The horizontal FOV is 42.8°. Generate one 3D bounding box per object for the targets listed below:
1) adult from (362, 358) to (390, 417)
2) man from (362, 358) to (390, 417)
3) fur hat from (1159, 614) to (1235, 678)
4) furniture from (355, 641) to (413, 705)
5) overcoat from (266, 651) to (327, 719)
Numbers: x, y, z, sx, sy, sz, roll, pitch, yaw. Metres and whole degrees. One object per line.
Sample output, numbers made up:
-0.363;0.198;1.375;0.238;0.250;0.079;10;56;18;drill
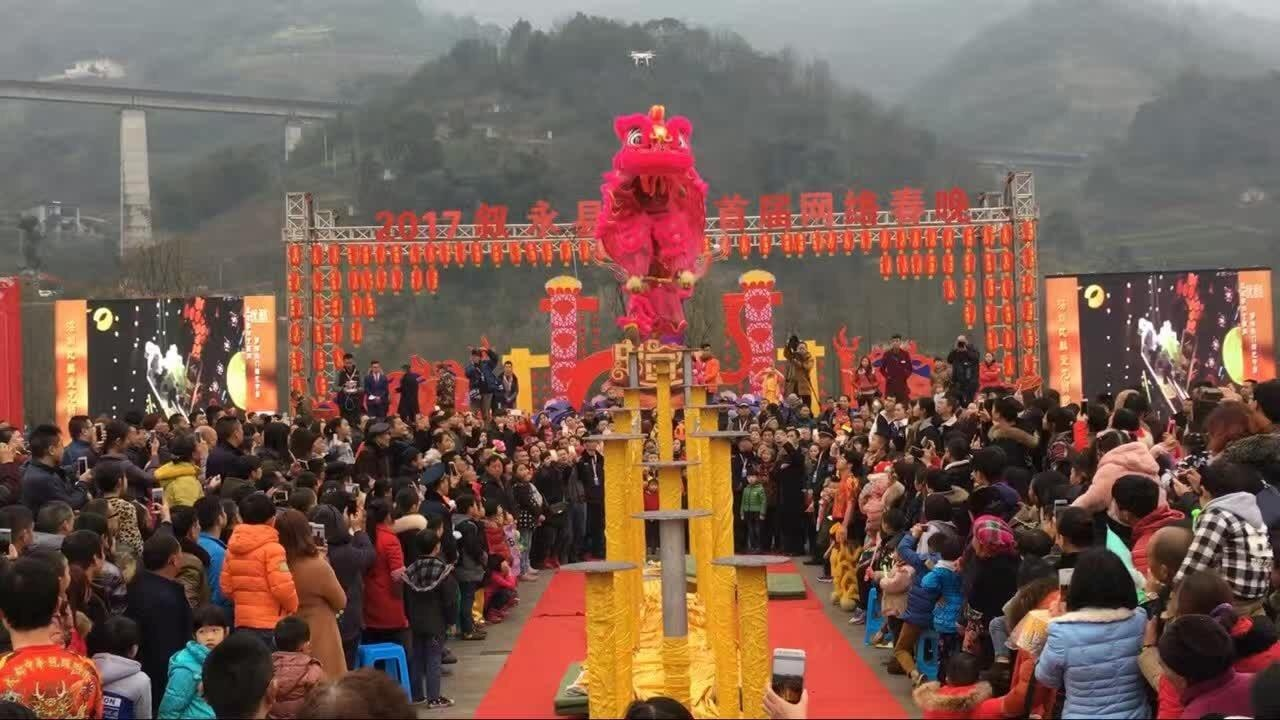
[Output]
-7.568;1.042;46.505;0.740;1.964;0.682;-3;18;-10;adult
-7.575;1.032;46.540;0.749;1.988;0.681;-4;20;-13;man
11.348;5.841;33.221;1.328;1.407;1.038;1;-2;1;fur hat
-5.505;6.921;35.936;1.541;1.477;1.451;1;-4;-12;furniture
-7.157;6.664;33.446;1.391;1.221;0.769;18;2;5;overcoat
